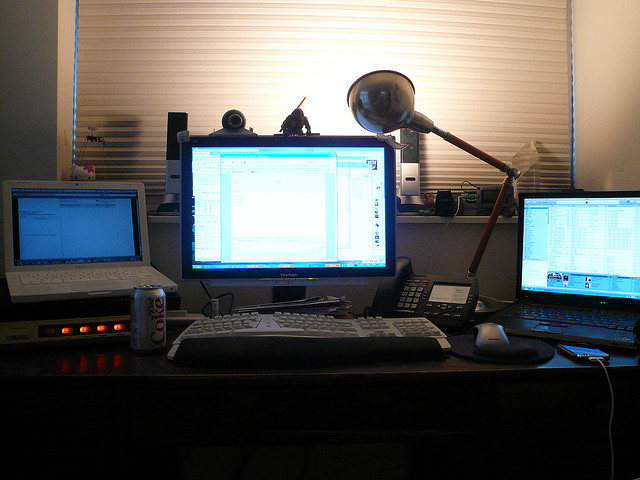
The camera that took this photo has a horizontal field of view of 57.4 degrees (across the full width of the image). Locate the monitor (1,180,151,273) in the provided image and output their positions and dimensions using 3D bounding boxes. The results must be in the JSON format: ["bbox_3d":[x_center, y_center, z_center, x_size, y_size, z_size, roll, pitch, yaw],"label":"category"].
[{"bbox_3d":[-0.839,-0.051,1.974,0.509,0.310,0.303,-2,10,-39],"label":"monitor"}]

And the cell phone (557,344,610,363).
[{"bbox_3d":[0.760,0.323,1.677,0.132,0.026,0.124,1,8,4],"label":"cell phone"}]

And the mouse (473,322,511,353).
[{"bbox_3d":[0.500,0.280,1.702,0.065,0.028,0.095,5,17,7],"label":"mouse"}]

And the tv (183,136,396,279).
[{"bbox_3d":[-0.127,-0.100,1.938,0.546,0.320,0.021,0,1,-3],"label":"tv"}]

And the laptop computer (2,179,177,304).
[{"bbox_3d":[-0.756,-0.010,1.899,0.476,0.348,0.410,-4,9,-28],"label":"laptop computer"}]

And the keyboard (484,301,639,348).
[{"bbox_3d":[0.779,0.255,1.874,0.445,0.070,0.275,3,9,22],"label":"keyboard"}]

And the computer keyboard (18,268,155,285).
[{"bbox_3d":[-0.738,0.117,1.863,0.399,0.022,0.102,-3,9,-22],"label":"computer keyboard"}]

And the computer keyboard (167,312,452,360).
[{"bbox_3d":[-0.033,0.270,1.789,0.752,0.080,0.253,1,13,-2],"label":"computer keyboard"}]
